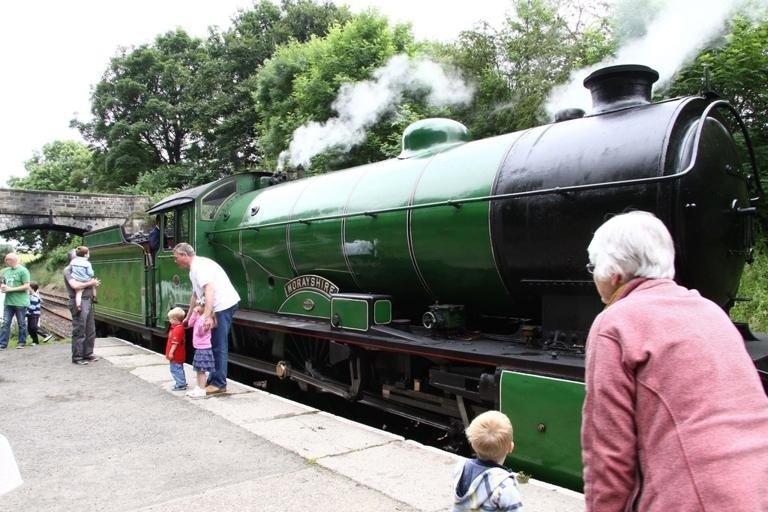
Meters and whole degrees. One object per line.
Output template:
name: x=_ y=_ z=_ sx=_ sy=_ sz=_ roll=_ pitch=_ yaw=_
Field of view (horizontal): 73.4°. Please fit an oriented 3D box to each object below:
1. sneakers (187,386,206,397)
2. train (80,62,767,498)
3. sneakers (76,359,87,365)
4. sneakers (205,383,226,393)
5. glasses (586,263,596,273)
sneakers: x=-2.344 y=1.721 z=6.474 sx=0.189 sy=0.066 sz=0.191 roll=11 pitch=-10 yaw=-35
train: x=-0.944 y=0.071 z=7.995 sx=4.295 sy=3.212 sz=10.274 roll=0 pitch=-2 yaw=-37
sneakers: x=-4.891 y=1.725 z=8.376 sx=0.188 sy=0.070 sz=0.067 roll=-8 pitch=-10 yaw=38
sneakers: x=-2.187 y=1.735 z=6.735 sx=0.258 sy=0.093 sz=0.102 roll=10 pitch=-12 yaw=-40
glasses: x=1.430 y=0.084 z=3.568 sx=0.072 sy=0.066 sz=0.025 roll=4 pitch=-14 yaw=-42
